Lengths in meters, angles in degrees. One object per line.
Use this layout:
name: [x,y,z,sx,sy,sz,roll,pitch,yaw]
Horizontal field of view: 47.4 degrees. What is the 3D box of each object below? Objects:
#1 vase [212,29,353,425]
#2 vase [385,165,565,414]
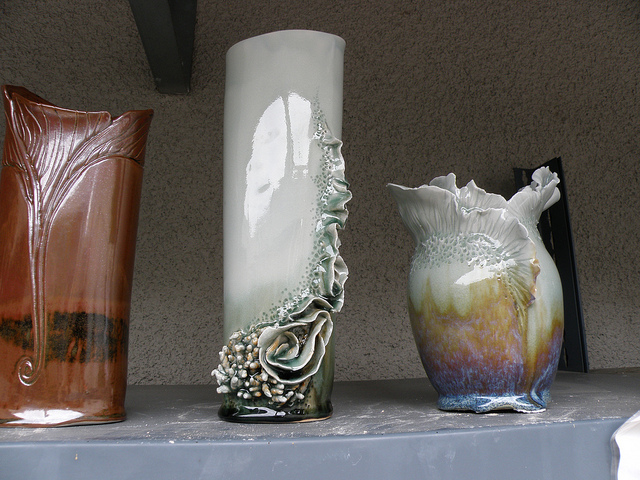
vase: [-0.085,-0.048,1.738,0.306,0.895,0.354,1,10,-5]
vase: [0.430,0.139,1.875,0.367,0.600,0.388,6,-7,-39]
